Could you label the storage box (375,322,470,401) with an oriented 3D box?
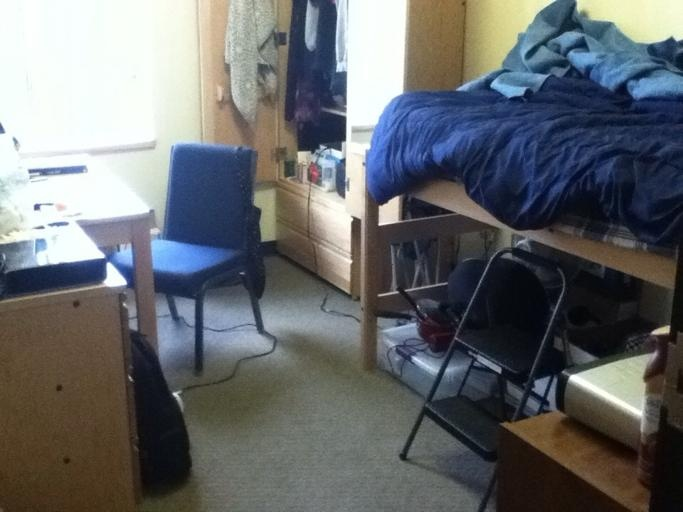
[{"bbox_3d":[0.369,0.515,3.099,0.286,0.207,0.404,-12,21,-31],"label":"storage box"}]
